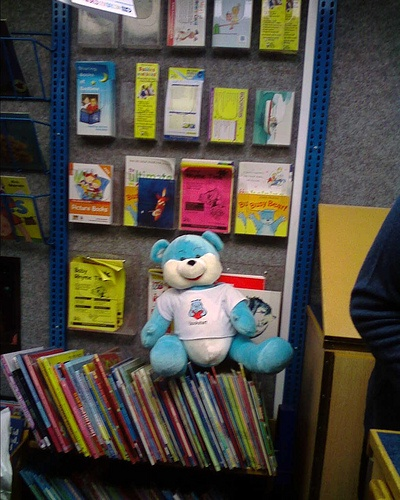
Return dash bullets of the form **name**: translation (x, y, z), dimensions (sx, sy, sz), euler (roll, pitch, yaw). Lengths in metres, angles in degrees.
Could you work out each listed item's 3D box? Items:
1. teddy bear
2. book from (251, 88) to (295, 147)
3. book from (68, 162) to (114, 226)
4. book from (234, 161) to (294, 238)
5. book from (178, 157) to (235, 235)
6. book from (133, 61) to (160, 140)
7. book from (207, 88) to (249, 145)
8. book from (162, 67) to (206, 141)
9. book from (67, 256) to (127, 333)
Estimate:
- **teddy bear**: translation (0.033, 0.134, 1.130), dimensions (0.393, 0.350, 0.272), euler (-3, 7, 24)
- **book**: translation (0.201, -0.361, 1.211), dimensions (0.144, 0.190, 0.025), euler (5, 2, 7)
- **book**: translation (-0.310, -0.168, 1.298), dimensions (0.174, 0.229, 0.024), euler (2, 6, 11)
- **book**: translation (0.183, -0.143, 1.235), dimensions (0.194, 0.256, 0.029), euler (4, 6, 7)
- **book**: translation (0.023, -0.157, 1.260), dimensions (0.205, 0.253, 0.067), euler (3, 9, 7)
- **book**: translation (-0.146, -0.412, 1.247), dimensions (0.068, 0.200, 0.051), euler (1, 20, 2)
- **book**: translation (0.076, -0.359, 1.226), dimensions (0.106, 0.144, 0.033), euler (2, 10, 5)
- **book**: translation (-0.042, -0.401, 1.239), dimensions (0.110, 0.190, 0.054), euler (1, 20, 2)
- **book**: translation (-0.295, 0.130, 1.319), dimensions (0.220, 0.283, 0.054), euler (1, 3, 7)
